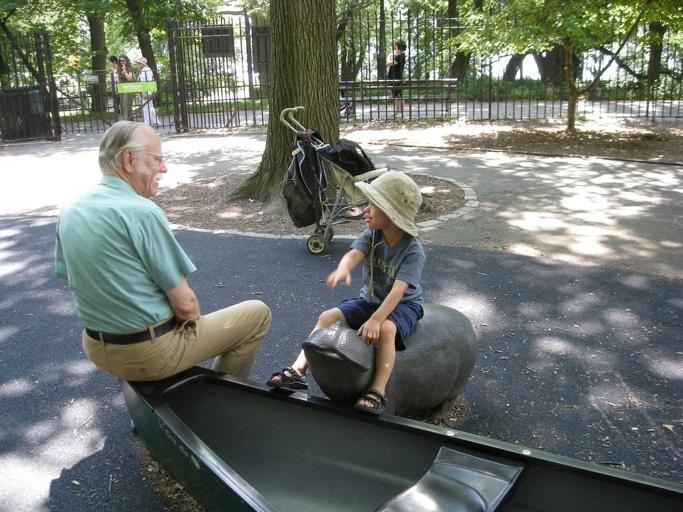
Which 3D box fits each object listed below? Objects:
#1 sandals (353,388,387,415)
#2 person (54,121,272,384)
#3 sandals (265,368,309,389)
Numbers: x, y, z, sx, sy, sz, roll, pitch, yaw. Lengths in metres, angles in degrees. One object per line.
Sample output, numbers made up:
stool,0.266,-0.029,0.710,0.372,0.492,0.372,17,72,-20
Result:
sandals,0.143,0.763,2.650,0.101,0.073,0.266,-2,-14,12
person,-1.049,0.086,2.932,0.912,1.689,0.440,-15,22,-35
sandals,-0.276,0.687,2.806,0.265,0.108,0.100,9,-13,-29
